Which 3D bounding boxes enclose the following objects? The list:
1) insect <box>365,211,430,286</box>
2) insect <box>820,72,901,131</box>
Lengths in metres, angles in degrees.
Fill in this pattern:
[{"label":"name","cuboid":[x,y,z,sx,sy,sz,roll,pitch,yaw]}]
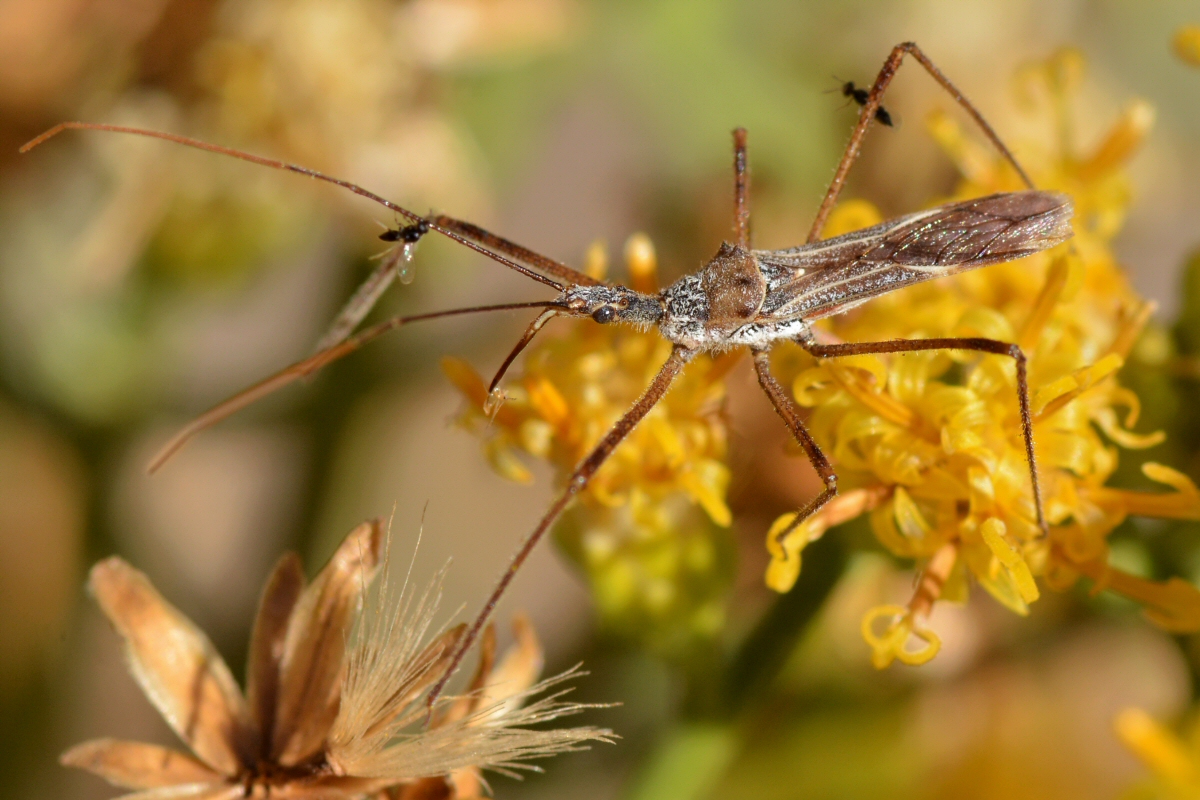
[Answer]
[{"label":"insect","cuboid":[-0.440,-0.334,2.625,0.107,0.067,0.166,11,-75,-22]},{"label":"insect","cuboid":[0.623,-0.692,2.755,0.124,0.033,0.096,36,-120,-16]}]
